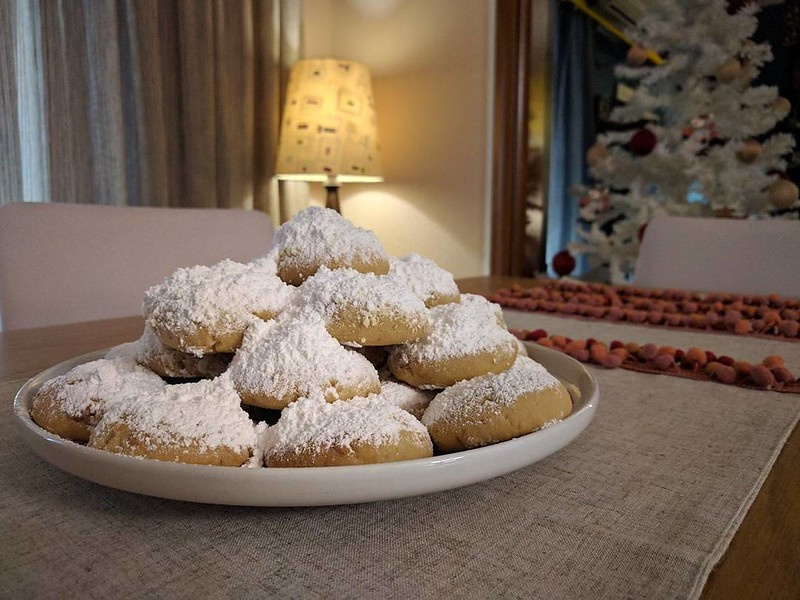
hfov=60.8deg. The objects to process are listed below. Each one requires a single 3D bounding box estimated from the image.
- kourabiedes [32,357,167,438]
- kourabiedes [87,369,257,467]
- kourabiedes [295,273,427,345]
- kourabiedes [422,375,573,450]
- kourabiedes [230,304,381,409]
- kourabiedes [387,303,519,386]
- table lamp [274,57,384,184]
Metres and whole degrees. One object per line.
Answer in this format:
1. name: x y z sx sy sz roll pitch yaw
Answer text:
1. kourabiedes: -0.340 0.105 0.752 0.102 0.038 0.099 1 21 -4
2. kourabiedes: -0.231 0.119 0.690 0.102 0.039 0.099 1 8 10
3. kourabiedes: -0.037 0.029 0.816 0.150 0.054 0.125 -3 -3 -29
4. kourabiedes: 0.102 0.120 0.732 0.119 0.043 0.089 -12 5 -13
5. kourabiedes: -0.108 0.066 0.731 0.115 0.046 0.111 22 36 21
6. kourabiedes: 0.062 0.047 0.829 0.138 0.055 0.158 10 23 21
7. table lamp: -0.241 -0.672 2.849 0.437 0.519 0.479 4 8 33
